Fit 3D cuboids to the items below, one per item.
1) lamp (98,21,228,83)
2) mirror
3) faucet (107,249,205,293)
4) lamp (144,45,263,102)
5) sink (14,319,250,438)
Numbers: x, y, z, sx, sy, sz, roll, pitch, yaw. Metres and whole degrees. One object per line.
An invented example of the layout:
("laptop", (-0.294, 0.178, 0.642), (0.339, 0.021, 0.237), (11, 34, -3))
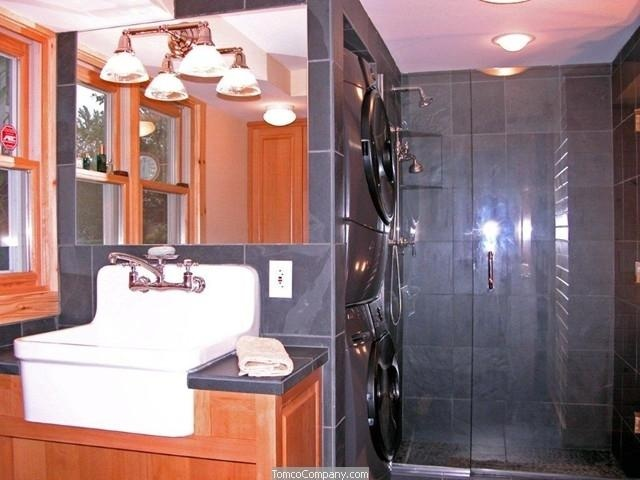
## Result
("lamp", (-0.714, -0.870, 2.690), (0.616, 0.293, 0.248), (-1, 2, 7))
("mirror", (-0.556, -0.542, 2.585), (1.056, 1.128, 0.056), (0, 2, 8))
("faucet", (-0.725, 0.132, 2.431), (0.398, 0.211, 0.205), (-2, -3, 14))
("lamp", (-0.553, -0.731, 2.593), (0.550, 0.225, 0.208), (1, 6, 6))
("sink", (-0.790, 0.557, 2.110), (0.762, 0.351, 0.220), (-1, -3, 8))
